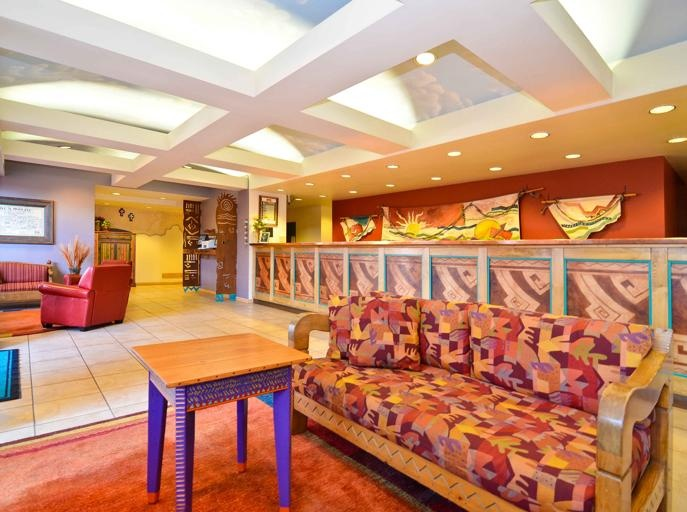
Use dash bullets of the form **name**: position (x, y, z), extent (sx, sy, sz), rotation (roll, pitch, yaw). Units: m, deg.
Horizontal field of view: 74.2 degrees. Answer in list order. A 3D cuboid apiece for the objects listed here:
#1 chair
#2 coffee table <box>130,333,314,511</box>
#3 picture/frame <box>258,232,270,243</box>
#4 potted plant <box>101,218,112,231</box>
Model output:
- **chair**: position (-3.744, 0.467, 6.781), extent (1.055, 1.053, 1.100), rotation (3, 1, 25)
- **coffee table**: position (-0.755, 1.087, 3.273), extent (1.131, 1.199, 1.102), rotation (2, -3, -36)
- **picture/frame**: position (-1.686, -0.402, 9.641), extent (0.238, 0.140, 0.231), rotation (0, 0, -44)
- **potted plant**: position (-6.220, -0.832, 11.785), extent (0.257, 0.204, 0.277), rotation (-2, -6, 30)
